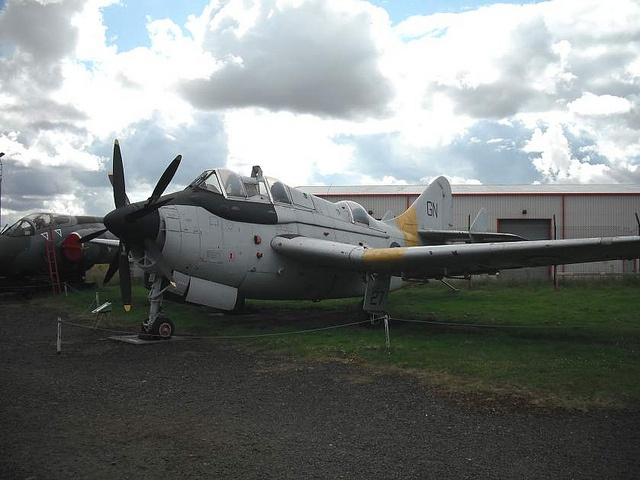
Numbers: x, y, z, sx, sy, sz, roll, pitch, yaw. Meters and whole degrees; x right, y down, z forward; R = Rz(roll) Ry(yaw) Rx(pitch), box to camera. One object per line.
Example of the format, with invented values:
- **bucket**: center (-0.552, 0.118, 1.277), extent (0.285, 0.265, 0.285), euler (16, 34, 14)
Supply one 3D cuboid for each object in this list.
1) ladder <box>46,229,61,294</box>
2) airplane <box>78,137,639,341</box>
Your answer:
- **ladder**: center (-10.382, 0.759, 16.798), extent (0.483, 2.519, 1.554), euler (-2, 3, -31)
- **airplane**: center (0.799, -0.269, 11.568), extent (10.547, 3.881, 9.939), euler (0, 3, -4)
